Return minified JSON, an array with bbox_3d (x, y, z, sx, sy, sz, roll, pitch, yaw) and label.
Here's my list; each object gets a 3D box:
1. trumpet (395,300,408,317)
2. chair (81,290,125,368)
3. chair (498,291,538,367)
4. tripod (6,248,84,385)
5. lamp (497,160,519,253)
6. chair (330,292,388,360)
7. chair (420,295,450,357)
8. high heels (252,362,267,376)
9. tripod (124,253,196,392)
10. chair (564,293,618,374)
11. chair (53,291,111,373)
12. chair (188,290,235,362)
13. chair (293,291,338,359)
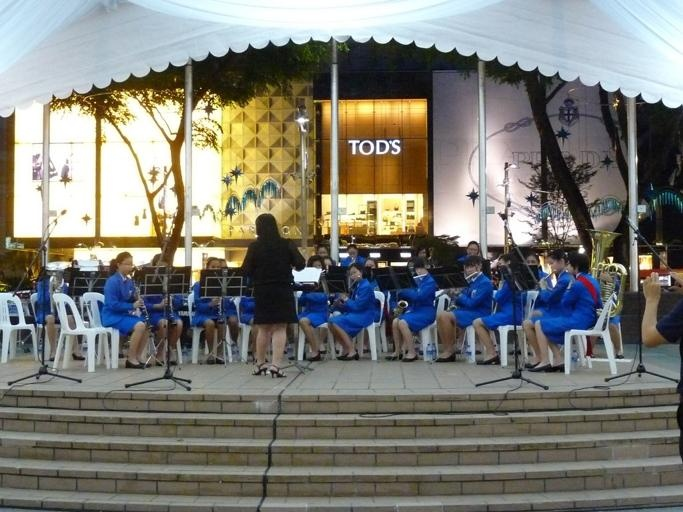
[{"bbox_3d":[1.058,0.954,19.765,0.162,0.288,0.273,-1,26,-19],"label":"trumpet"},{"bbox_3d":[-4.487,1.225,18.798,0.706,1.184,0.708,-2,12,-25],"label":"chair"},{"bbox_3d":[3.010,1.338,19.060,0.452,1.412,0.628,1,3,1],"label":"chair"},{"bbox_3d":[-4.828,1.150,17.995,0.898,2.435,1.151,0,5,-19],"label":"tripod"},{"bbox_3d":[4.546,-1.260,30.260,0.279,2.797,0.355,2,3,6],"label":"lamp"},{"bbox_3d":[0.611,1.288,20.281,0.545,1.210,0.454,0,0,-24],"label":"chair"},{"bbox_3d":[1.649,1.281,19.731,0.474,1.191,0.399,-1,1,0],"label":"chair"},{"bbox_3d":[-1.317,1.879,18.119,0.237,0.185,0.130,2,0,31],"label":"high heels"},{"bbox_3d":[-2.813,1.072,17.868,0.782,2.186,0.769,0,0,15],"label":"tripod"},{"bbox_3d":[4.337,1.414,18.883,1.103,1.980,1.075,1,-4,9],"label":"chair"},{"bbox_3d":[-5.026,1.382,20.016,0.865,1.428,0.860,16,2,9],"label":"chair"},{"bbox_3d":[-2.273,1.200,19.644,0.715,1.393,0.644,0,3,-30],"label":"chair"},{"bbox_3d":[-0.491,1.217,19.828,0.602,1.221,0.539,-1,2,-15],"label":"chair"}]
